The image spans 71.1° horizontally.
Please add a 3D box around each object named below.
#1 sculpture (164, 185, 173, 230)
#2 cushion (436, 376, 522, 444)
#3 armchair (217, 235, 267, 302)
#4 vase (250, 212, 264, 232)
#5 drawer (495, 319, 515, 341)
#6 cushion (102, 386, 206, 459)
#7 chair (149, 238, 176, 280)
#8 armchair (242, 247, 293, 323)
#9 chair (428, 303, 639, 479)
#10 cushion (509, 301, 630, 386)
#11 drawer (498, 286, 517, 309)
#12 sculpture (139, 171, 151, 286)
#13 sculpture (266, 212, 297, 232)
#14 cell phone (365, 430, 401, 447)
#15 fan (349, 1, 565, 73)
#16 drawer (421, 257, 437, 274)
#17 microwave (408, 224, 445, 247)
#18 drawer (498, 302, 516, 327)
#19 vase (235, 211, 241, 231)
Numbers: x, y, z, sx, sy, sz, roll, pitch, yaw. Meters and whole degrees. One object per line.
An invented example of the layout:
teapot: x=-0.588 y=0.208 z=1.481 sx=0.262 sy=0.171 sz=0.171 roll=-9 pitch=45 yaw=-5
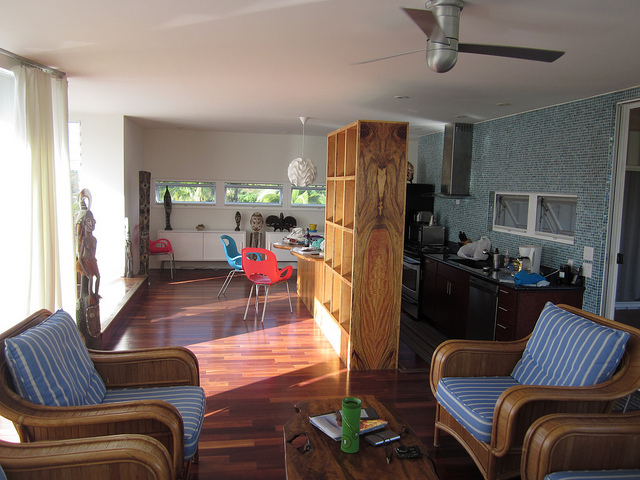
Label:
sculpture: x=-3.182 y=-0.667 z=9.326 sx=0.167 sy=0.876 sz=0.250 roll=-2 pitch=11 yaw=-19
cushion: x=1.307 y=1.191 z=3.248 sx=0.763 sy=0.174 sz=0.780 roll=2 pitch=5 yaw=-10
armchair: x=-1.406 y=0.417 z=7.674 sx=0.943 sy=1.250 sz=0.976 roll=-2 pitch=1 yaw=-5
vase: x=-1.352 y=-0.391 z=9.675 sx=0.305 sy=0.415 sz=0.222 roll=-2 pitch=11 yaw=-21
drawer: x=2.013 y=0.992 z=4.888 sx=0.165 sy=0.172 sz=0.242 roll=2 pitch=6 yaw=0
cushion: x=-1.154 y=1.147 z=2.938 sx=0.750 sy=0.294 sz=0.580 roll=4 pitch=13 yaw=-10
chair: x=-3.223 y=0.294 z=8.928 sx=0.619 sy=0.850 sz=0.665 roll=-1 pitch=11 yaw=-24
armchair: x=-0.814 y=0.557 z=6.428 sx=0.667 sy=1.051 sz=0.711 roll=5 pitch=8 yaw=-6
chair: x=1.545 y=1.029 z=3.420 sx=1.352 sy=1.268 sz=1.157 roll=-2 pitch=7 yaw=-9
cushion: x=1.722 y=0.790 z=3.136 sx=0.172 sy=0.542 sz=0.577 roll=23 pitch=0 yaw=-18
drawer: x=2.029 y=0.620 z=4.844 sx=0.158 sy=0.168 sz=0.242 roll=2 pitch=4 yaw=-3
sculpture: x=-3.494 y=-0.343 z=8.848 sx=0.307 sy=2.399 sz=0.274 roll=1 pitch=-20 yaw=-23
sculpture: x=-0.849 y=-0.408 z=9.812 sx=0.672 sy=0.392 sz=0.211 roll=1 pitch=11 yaw=-6
cell phone: x=0.382 y=1.198 z=2.714 sx=0.134 sy=0.013 sz=0.076 roll=-1 pitch=11 yaw=-27
fan: x=0.925 y=-1.309 z=2.855 sx=1.123 sy=0.384 sz=0.484 roll=-3 pitch=11 yaw=-25
drawer: x=1.589 y=0.359 z=6.493 sx=0.165 sy=0.131 sz=0.268 roll=1 pitch=4 yaw=-7
microwave: x=1.821 y=-0.070 z=7.609 sx=0.370 sy=0.265 sz=0.521 roll=1 pitch=3 yaw=-6
drawer: x=2.021 y=0.803 z=4.857 sx=0.169 sy=0.168 sz=0.241 roll=2 pitch=2 yaw=-1
vase: x=-1.778 y=-0.417 z=9.610 sx=0.120 sy=0.412 sz=0.170 roll=0 pitch=11 yaw=-8
